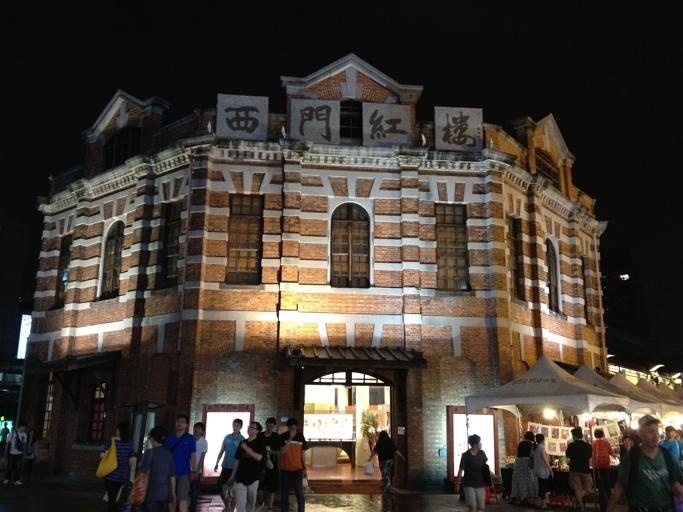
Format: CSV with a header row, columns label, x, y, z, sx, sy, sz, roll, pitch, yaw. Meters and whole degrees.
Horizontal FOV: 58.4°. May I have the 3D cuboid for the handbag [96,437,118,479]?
label,x,y,z,sx,sy,sz,roll,pitch,yaw
handbag,-4.835,4.116,12.566,0.362,0.767,0.402,15,-23,-34

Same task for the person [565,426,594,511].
label,x,y,z,sx,sy,sz,roll,pitch,yaw
person,6.578,5.808,16.705,0.669,2.154,0.581,-4,-20,15

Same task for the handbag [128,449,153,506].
label,x,y,z,sx,sy,sz,roll,pitch,yaw
handbag,-3.695,4.005,11.168,0.263,0.944,0.336,11,-22,-26

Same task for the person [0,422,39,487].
label,x,y,z,sx,sy,sz,roll,pitch,yaw
person,-11.453,6.936,21.536,0.948,2.037,1.562,7,-20,-16

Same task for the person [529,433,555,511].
label,x,y,z,sx,sy,sz,roll,pitch,yaw
person,5.783,6.095,17.504,0.467,1.964,1.325,-5,-20,18

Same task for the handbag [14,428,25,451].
label,x,y,z,sx,sy,sz,roll,pitch,yaw
handbag,-11.370,6.454,21.419,0.336,0.719,0.375,-13,-24,36
